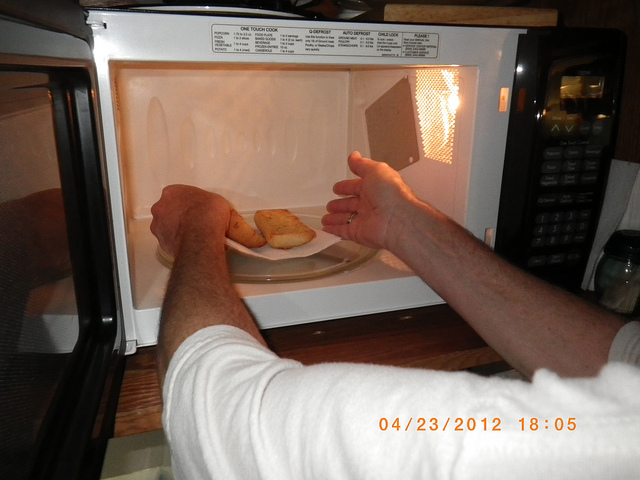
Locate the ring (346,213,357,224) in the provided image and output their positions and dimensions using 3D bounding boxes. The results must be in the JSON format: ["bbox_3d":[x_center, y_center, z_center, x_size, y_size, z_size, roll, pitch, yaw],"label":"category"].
[{"bbox_3d":[0.067,-0.048,0.937,0.009,0.025,0.013,38,10,-13],"label":"ring"}]
